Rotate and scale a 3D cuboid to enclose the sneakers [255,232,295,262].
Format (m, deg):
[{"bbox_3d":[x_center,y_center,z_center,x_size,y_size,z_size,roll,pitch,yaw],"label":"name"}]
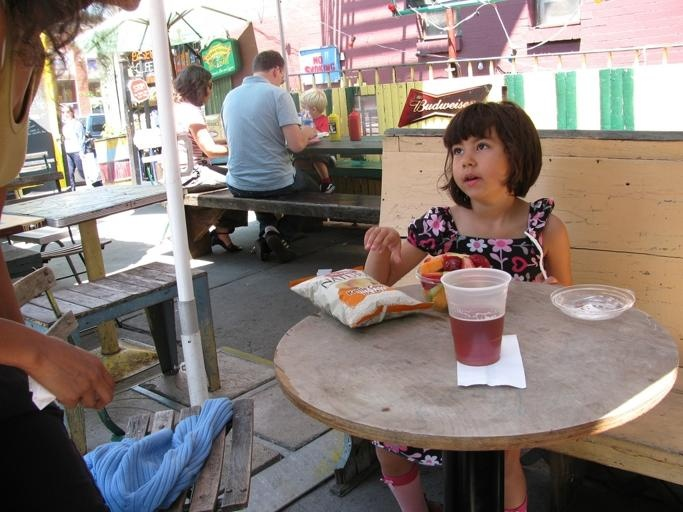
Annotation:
[{"bbox_3d":[-0.810,-0.104,5.713,0.236,0.240,0.603,-25,-30,10],"label":"sneakers"}]

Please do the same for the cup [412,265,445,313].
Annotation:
[{"bbox_3d":[0.307,0.127,1.641,0.120,0.085,0.115,-1,9,0],"label":"cup"}]

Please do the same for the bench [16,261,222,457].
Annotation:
[{"bbox_3d":[-1.517,0.605,3.191,1.071,0.933,1.081,7,19,35],"label":"bench"}]

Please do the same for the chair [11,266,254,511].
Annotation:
[{"bbox_3d":[-0.886,0.548,2.108,0.757,0.881,0.955,-5,15,12],"label":"chair"}]

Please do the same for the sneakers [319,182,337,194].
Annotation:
[{"bbox_3d":[-0.199,-0.951,6.746,0.162,0.186,0.420,-7,18,10],"label":"sneakers"}]

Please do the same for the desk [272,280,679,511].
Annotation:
[{"bbox_3d":[0.364,0.310,1.380,0.822,0.540,0.776,-2,18,3],"label":"desk"}]

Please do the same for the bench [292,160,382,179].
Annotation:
[{"bbox_3d":[-0.086,-1.242,6.947,1.018,0.272,0.240,7,-22,5],"label":"bench"}]
